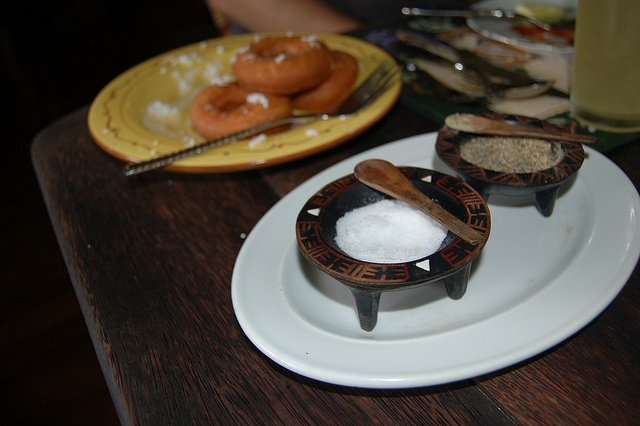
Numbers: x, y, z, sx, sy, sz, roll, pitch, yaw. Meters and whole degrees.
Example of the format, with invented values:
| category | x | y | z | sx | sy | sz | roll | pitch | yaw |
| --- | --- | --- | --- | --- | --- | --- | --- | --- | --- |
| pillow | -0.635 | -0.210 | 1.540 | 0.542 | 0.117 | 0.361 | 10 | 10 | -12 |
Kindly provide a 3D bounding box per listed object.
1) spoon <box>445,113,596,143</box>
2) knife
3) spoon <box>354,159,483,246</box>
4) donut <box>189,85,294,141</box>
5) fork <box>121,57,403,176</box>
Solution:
| category | x | y | z | sx | sy | sz | roll | pitch | yaw |
| --- | --- | --- | --- | --- | --- | --- | --- | --- | --- |
| spoon | 0.308 | -0.131 | 0.820 | 0.206 | 0.009 | 0.051 | 9 | 38 | 22 |
| knife | 0.270 | -0.344 | 1.087 | 0.104 | 0.094 | 0.512 | -34 | 37 | -25 |
| spoon | 0.124 | -0.024 | 0.728 | 0.064 | 0.032 | 0.244 | -31 | 37 | -12 |
| donut | -0.147 | -0.186 | 0.942 | 0.129 | 0.042 | 0.125 | -13 | 38 | -22 |
| fork | -0.090 | -0.163 | 0.923 | 0.491 | 0.073 | 0.070 | -20 | 44 | 2 |
